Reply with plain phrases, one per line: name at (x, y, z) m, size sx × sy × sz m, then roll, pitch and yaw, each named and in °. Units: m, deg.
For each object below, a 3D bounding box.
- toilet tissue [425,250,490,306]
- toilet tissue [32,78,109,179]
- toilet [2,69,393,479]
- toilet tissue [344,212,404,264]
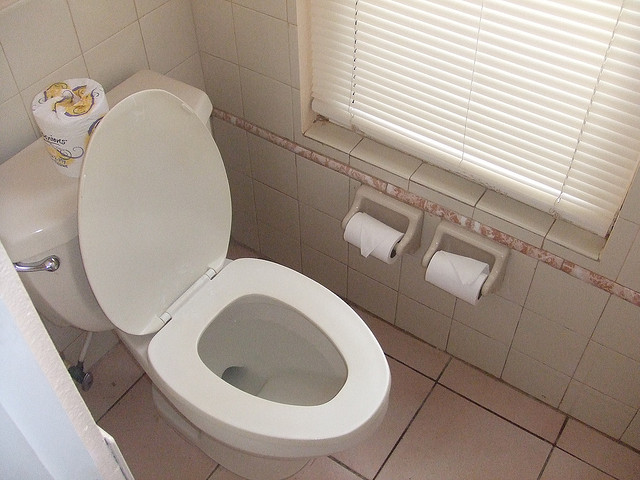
toilet tissue at (0.414, 0.105, 1.513) m, size 0.102 × 0.116 × 0.191 m, roll 1°, pitch 14°, yaw -39°
toilet tissue at (-0.588, -0.259, 1.199) m, size 0.154 × 0.172 × 0.155 m, roll 26°, pitch 51°, yaw 7°
toilet at (-0.300, 0.074, 1.324) m, size 0.787 × 0.877 × 0.587 m, roll 33°, pitch 58°, yaw 20°
toilet tissue at (0.169, -0.004, 1.599) m, size 0.173 × 0.104 × 0.117 m, roll 31°, pitch 52°, yaw 26°
